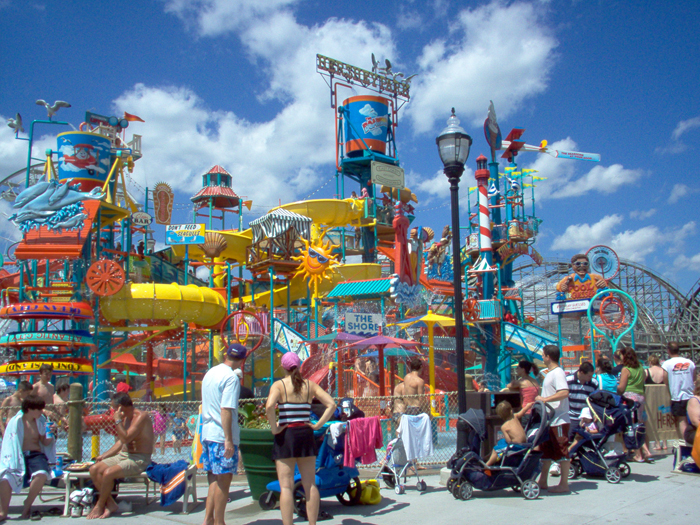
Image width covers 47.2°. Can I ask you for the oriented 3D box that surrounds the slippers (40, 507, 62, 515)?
[{"bbox_3d":[-5.242,4.417,14.208,0.222,0.097,0.169,17,-15,-38],"label":"slippers"}]

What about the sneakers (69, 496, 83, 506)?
[{"bbox_3d":[-4.746,4.170,13.993,0.121,0.153,0.054,-6,-15,-22],"label":"sneakers"}]

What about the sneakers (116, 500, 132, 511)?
[{"bbox_3d":[-3.956,4.294,14.099,0.253,0.197,0.137,1,-13,-15],"label":"sneakers"}]

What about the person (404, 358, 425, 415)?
[{"bbox_3d":[1.397,2.674,17.324,0.455,1.226,1.055,-3,-13,3],"label":"person"}]

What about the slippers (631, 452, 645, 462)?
[{"bbox_3d":[6.160,4.167,17.180,0.155,0.215,0.084,-23,-29,6],"label":"slippers"}]

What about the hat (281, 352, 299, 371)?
[{"bbox_3d":[-0.947,1.589,12.875,0.218,0.243,0.305,-1,6,-6],"label":"hat"}]

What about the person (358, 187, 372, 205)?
[{"bbox_3d":[0.920,-3.508,42.898,0.610,1.250,0.965,-3,-13,2],"label":"person"}]

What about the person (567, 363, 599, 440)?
[{"bbox_3d":[4.559,2.690,15.661,0.589,1.447,0.657,-6,-13,15],"label":"person"}]

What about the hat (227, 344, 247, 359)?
[{"bbox_3d":[-1.822,1.449,13.177,0.303,0.252,0.503,9,4,0],"label":"hat"}]

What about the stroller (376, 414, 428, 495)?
[{"bbox_3d":[1.122,3.741,15.739,0.955,1.479,1.181,-11,-15,33],"label":"stroller"}]

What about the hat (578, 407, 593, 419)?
[{"bbox_3d":[4.646,2.993,15.840,0.257,0.267,0.267,-2,-12,22],"label":"hat"}]

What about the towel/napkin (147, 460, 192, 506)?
[{"bbox_3d":[-3.226,3.924,14.248,0.729,0.741,0.388,1,-13,-15],"label":"towel/napkin"}]

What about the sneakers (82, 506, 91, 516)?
[{"bbox_3d":[-4.574,4.342,13.983,0.137,0.142,0.143,0,-13,-13],"label":"sneakers"}]

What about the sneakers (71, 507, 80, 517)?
[{"bbox_3d":[-4.735,4.345,13.940,0.100,0.137,0.138,-2,-1,1],"label":"sneakers"}]

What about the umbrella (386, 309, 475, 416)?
[{"bbox_3d":[2.479,2.975,24.858,2.785,3.784,2.877,-2,-2,32],"label":"umbrella"}]

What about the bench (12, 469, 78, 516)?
[{"bbox_3d":[-5.298,4.187,14.532,1.016,0.840,0.859,0,-29,-1],"label":"bench"}]

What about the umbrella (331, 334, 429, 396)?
[{"bbox_3d":[0.720,2.268,21.393,1.877,1.704,1.870,13,-19,-36],"label":"umbrella"}]
